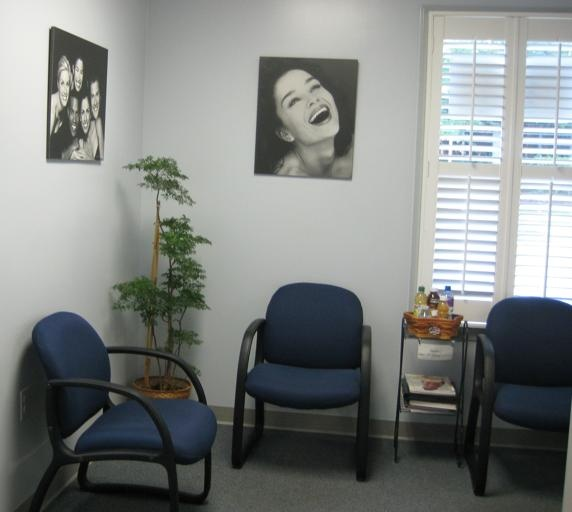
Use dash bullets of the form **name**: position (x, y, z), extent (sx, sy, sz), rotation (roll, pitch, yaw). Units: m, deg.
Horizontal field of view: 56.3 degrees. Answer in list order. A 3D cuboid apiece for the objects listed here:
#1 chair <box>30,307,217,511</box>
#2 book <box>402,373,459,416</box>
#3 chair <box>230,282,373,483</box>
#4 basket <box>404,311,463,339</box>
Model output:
- **chair**: position (-0.701, 0.706, 2.680), extent (0.810, 1.128, 0.718), rotation (2, 2, 9)
- **book**: position (0.800, 0.769, 2.995), extent (0.203, 0.085, 0.241), rotation (1, 10, 4)
- **chair**: position (0.005, 0.707, 3.177), extent (0.797, 1.338, 0.850), rotation (1, 2, 10)
- **basket**: position (0.805, 0.388, 2.950), extent (0.302, 0.134, 0.093), rotation (5, 9, 17)
